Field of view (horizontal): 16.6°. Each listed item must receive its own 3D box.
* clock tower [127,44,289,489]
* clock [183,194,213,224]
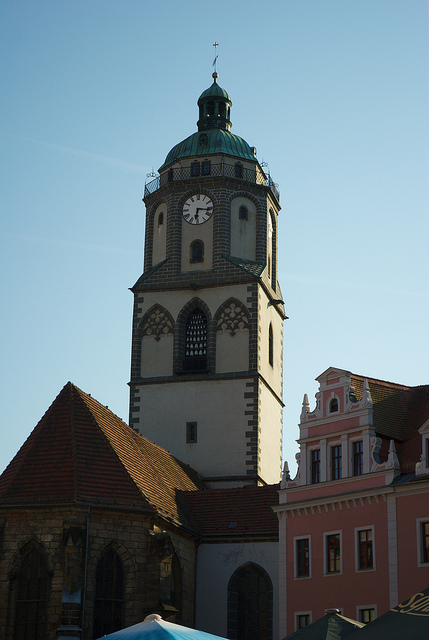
[{"bbox_3d":[-0.182,-1.628,55.086,5.174,17.041,3.374,-1,-18,3],"label":"clock tower"},{"bbox_3d":[-0.608,-4.160,55.982,0.845,1.094,0.062,-8,-24,15],"label":"clock"}]
